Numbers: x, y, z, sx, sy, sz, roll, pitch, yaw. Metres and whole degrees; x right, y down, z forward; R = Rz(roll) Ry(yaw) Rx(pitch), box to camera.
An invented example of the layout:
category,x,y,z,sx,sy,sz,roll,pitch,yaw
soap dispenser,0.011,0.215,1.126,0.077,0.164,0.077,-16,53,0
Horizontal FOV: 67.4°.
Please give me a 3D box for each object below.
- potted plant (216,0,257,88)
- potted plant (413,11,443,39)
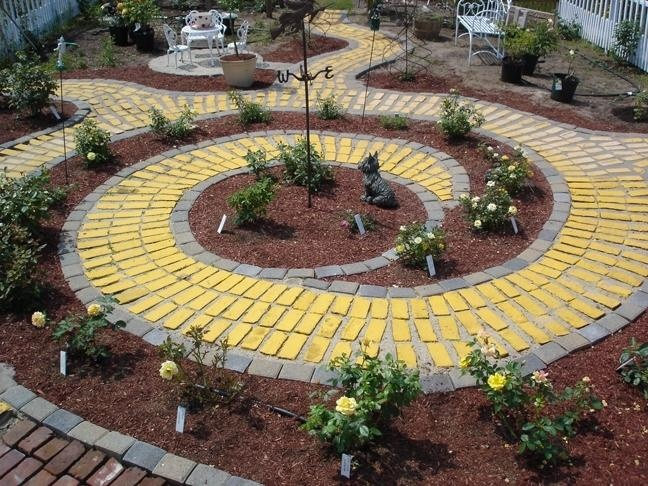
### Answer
category,x,y,z,sx,sy,sz,roll,pitch,yaw
potted plant,-1.779,-3.764,10.274,0.710,0.837,0.672,0,36,1
potted plant,2.912,-5.987,13.487,0.757,0.600,0.551,20,40,26
